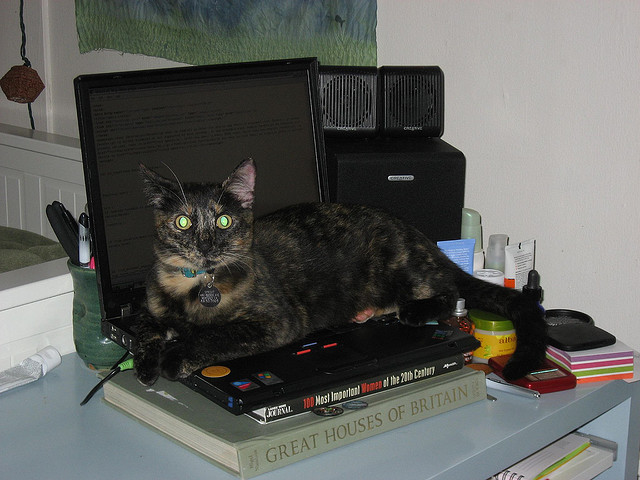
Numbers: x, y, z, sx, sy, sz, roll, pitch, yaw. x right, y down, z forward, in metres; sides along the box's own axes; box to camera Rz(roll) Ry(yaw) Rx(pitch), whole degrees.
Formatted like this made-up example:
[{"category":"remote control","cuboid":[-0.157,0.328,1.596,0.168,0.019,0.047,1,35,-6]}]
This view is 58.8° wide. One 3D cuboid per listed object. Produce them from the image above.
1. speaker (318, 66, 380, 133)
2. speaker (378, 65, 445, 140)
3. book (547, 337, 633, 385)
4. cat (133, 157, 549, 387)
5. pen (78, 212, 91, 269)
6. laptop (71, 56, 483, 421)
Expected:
[{"category":"speaker","cuboid":[0.086,-0.367,1.490,0.204,0.176,0.113,3,17,20]},{"category":"speaker","cuboid":[0.219,-0.351,1.498,0.172,0.181,0.178,0,3,1]},{"category":"book","cuboid":[0.542,0.236,1.124,0.092,0.035,0.096,-5,14,-7]},{"category":"cat","cuboid":[0.017,0.061,1.071,0.606,0.308,0.463,-15,27,-41]},{"category":"pen","cuboid":[-0.441,0.002,1.068,0.027,0.094,0.019,-2,4,-6]},{"category":"laptop","cuboid":[-0.054,-0.048,1.015,0.609,0.444,0.530,-13,29,-35]}]
